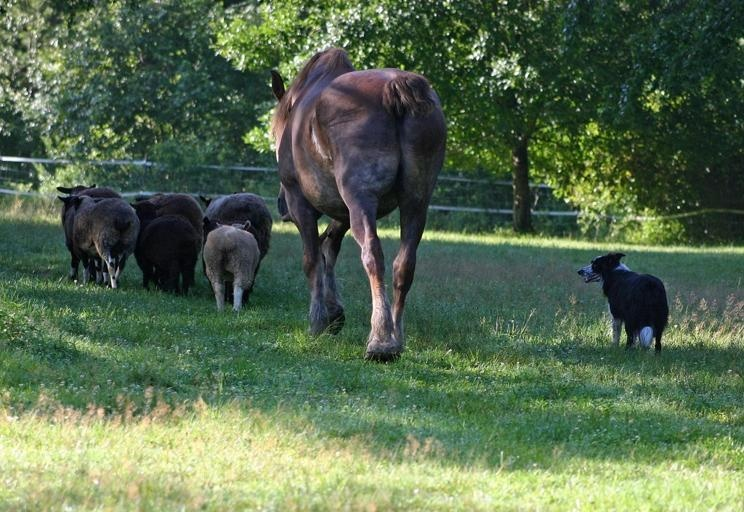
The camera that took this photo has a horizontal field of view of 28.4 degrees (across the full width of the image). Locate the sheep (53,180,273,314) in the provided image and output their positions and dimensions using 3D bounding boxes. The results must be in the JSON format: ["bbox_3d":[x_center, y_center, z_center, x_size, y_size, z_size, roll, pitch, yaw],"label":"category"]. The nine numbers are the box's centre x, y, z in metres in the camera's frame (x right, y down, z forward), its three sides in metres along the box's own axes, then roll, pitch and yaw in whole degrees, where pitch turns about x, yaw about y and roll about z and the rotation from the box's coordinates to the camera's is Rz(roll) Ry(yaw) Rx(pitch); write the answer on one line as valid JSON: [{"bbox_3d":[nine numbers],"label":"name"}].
[{"bbox_3d":[-5.494,-0.443,44.361,6.476,2.457,2.363,7,3,32],"label":"sheep"}]

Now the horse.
[{"bbox_3d":[-0.769,-1.684,41.532,3.325,9.429,11.515,0,-4,-20],"label":"horse"}]
